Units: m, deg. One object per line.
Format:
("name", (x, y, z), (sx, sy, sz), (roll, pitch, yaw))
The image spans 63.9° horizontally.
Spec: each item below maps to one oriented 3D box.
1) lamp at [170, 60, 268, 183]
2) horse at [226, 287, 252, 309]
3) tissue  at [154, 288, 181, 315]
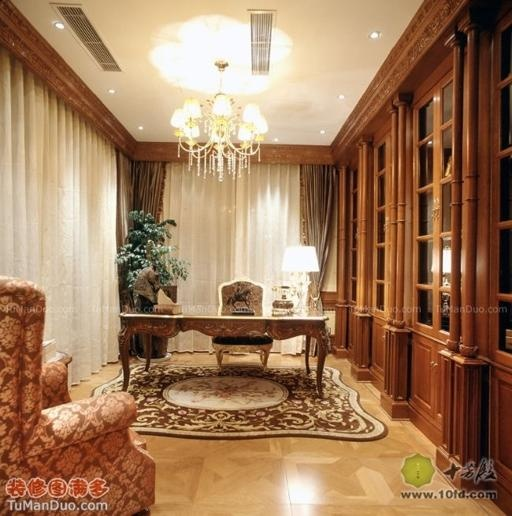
("lamp", (-0.352, -1.394, 3.931), (0.694, 0.881, 0.701), (-5, 14, -35))
("horse", (-0.172, 0.480, 4.718), (0.193, 0.234, 0.584), (1, 0, 4))
("tissue ", (-0.920, 0.454, 4.136), (0.198, 0.256, 0.265), (7, -15, -33))
